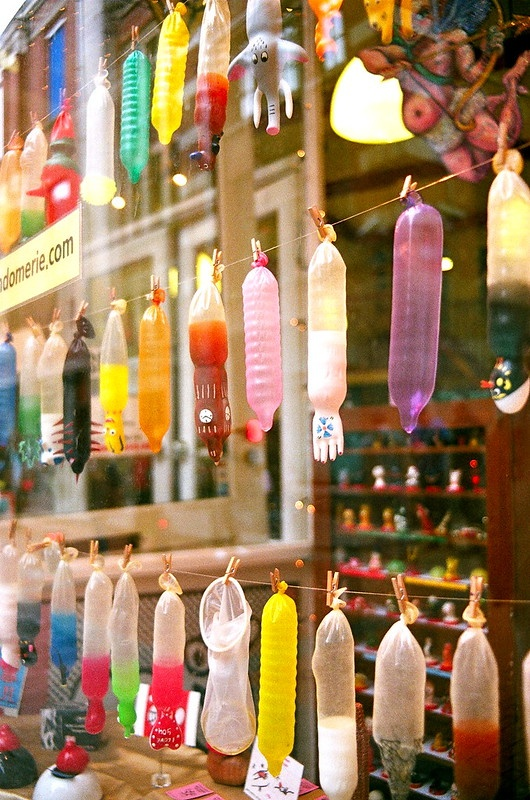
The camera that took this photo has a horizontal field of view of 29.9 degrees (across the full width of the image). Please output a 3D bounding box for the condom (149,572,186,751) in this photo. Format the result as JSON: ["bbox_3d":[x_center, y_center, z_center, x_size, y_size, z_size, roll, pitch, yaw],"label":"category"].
[{"bbox_3d":[-0.183,0.477,1.870,0.066,0.348,0.117,-2,-6,-7],"label":"condom"}]

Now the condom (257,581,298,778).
[{"bbox_3d":[0.021,0.452,1.637,0.070,0.335,0.051,-2,-6,-2],"label":"condom"}]

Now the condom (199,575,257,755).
[{"bbox_3d":[-0.065,0.461,1.724,0.094,0.309,0.071,-2,-6,-4],"label":"condom"}]

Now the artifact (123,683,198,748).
[{"bbox_3d":[-0.194,0.636,2.002,0.124,0.135,0.036,5,3,19],"label":"artifact"}]
